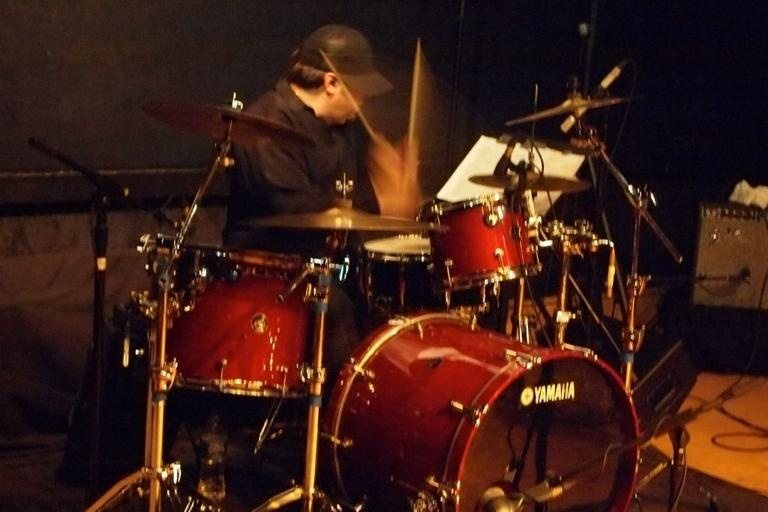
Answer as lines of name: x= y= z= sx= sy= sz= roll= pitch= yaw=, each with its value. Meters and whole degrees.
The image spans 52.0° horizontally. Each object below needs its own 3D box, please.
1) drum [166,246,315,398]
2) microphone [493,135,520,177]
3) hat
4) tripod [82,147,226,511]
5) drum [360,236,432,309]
drum: x=-0.777 y=0.354 z=4.236 sx=0.693 sy=0.753 sz=0.752 roll=4 pitch=-2 yaw=-14
microphone: x=0.688 y=-0.553 z=4.450 sx=0.112 sy=0.220 sz=0.113 roll=3 pitch=-6 yaw=-17
hat: x=-0.231 y=-1.148 z=4.598 sx=0.658 sy=0.376 sz=0.488 roll=15 pitch=19 yaw=30
tripod: x=-1.128 y=0.401 z=4.020 sx=0.385 sy=1.887 sz=0.865 roll=7 pitch=-8 yaw=-43
drum: x=0.080 y=0.095 z=4.393 sx=0.361 sy=0.340 sz=0.383 roll=0 pitch=0 yaw=20
